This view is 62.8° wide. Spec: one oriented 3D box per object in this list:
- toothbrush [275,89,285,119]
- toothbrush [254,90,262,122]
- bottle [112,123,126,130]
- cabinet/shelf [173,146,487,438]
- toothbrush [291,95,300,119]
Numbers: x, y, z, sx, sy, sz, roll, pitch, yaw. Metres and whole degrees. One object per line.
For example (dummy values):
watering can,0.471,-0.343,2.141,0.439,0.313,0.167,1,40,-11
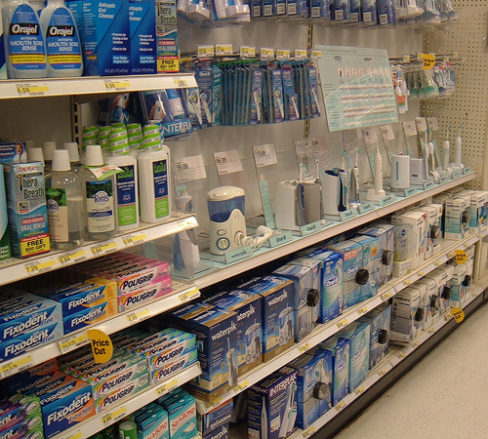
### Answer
toothbrush,0.187,-0.609,2.127,0.044,0.145,0.020,-17,20,-42
toothbrush,0.067,-0.569,2.038,0.020,0.151,0.064,-1,15,16
bottle,-0.400,-0.288,1.252,0.038,0.027,0.038,2,8,0
cabinet/shelf,0.514,0.444,2.315,0.481,0.643,1.767,11,22,41
toothbrush,0.281,-0.612,2.212,0.041,0.124,0.032,-18,19,-31
